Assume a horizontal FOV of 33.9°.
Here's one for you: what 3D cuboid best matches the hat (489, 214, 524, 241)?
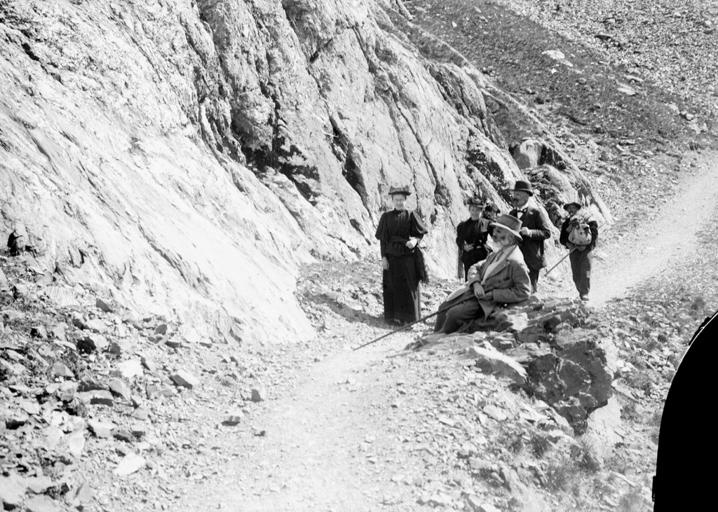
[{"bbox_3d":[3.276,-0.594,26.061,0.607,0.350,0.619,33,-6,-7],"label":"hat"}]

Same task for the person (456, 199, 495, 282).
[{"bbox_3d":[2.867,-0.274,29.556,0.952,2.614,0.981,-7,33,-6],"label":"person"}]
